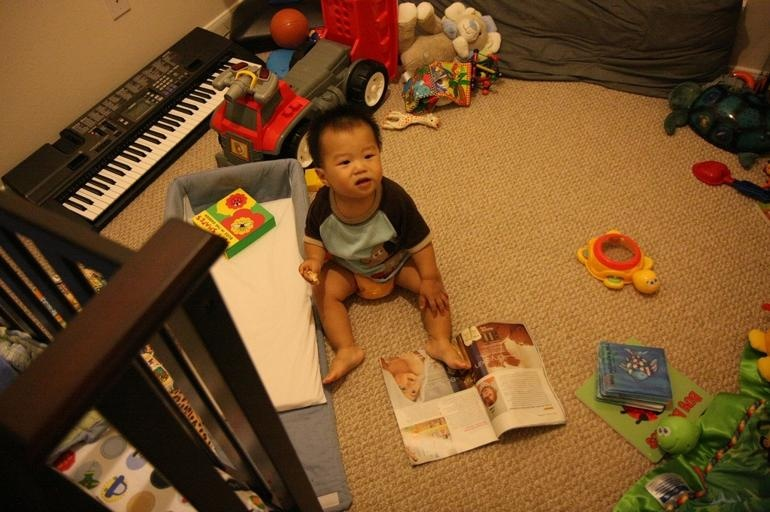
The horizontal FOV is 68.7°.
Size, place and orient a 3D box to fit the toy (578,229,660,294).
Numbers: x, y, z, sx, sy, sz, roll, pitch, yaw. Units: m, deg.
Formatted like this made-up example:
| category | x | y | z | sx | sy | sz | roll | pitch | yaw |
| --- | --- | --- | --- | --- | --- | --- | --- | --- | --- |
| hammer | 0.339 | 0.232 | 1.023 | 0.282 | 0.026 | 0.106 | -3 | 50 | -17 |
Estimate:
| category | x | y | z | sx | sy | sz | roll | pitch | yaw |
| --- | --- | --- | --- | --- | --- | --- | --- | --- | --- |
| toy | 0.795 | 0.022 | 1.933 | 0.218 | 0.066 | 0.230 | 23 | 60 | 24 |

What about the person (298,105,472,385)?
| category | x | y | z | sx | sy | sz | roll | pitch | yaw |
| --- | --- | --- | --- | --- | --- | --- | --- | --- | --- |
| person | -0.032 | -0.042 | 1.715 | 0.455 | 0.725 | 0.578 | -6 | 44 | 1 |

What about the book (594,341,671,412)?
| category | x | y | z | sx | sy | sz | roll | pitch | yaw |
| --- | --- | --- | --- | --- | --- | --- | --- | --- | --- |
| book | 0.768 | 0.367 | 1.732 | 0.224 | 0.101 | 0.183 | 3 | 47 | 14 |

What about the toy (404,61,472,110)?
| category | x | y | z | sx | sy | sz | roll | pitch | yaw |
| --- | --- | --- | --- | --- | --- | --- | --- | --- | --- |
| toy | 0.219 | -0.704 | 2.351 | 0.240 | 0.078 | 0.196 | 1 | 89 | 16 |

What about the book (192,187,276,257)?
| category | x | y | z | sx | sy | sz | roll | pitch | yaw |
| --- | --- | --- | --- | --- | --- | --- | --- | --- | --- |
| book | -0.512 | -0.103 | 1.978 | 0.272 | 0.074 | 0.270 | -37 | 68 | -21 |

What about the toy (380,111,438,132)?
| category | x | y | z | sx | sy | sz | roll | pitch | yaw |
| --- | --- | --- | --- | --- | --- | --- | --- | --- | --- |
| toy | 0.108 | -0.561 | 2.324 | 0.185 | 0.028 | 0.100 | -5 | 64 | 5 |
